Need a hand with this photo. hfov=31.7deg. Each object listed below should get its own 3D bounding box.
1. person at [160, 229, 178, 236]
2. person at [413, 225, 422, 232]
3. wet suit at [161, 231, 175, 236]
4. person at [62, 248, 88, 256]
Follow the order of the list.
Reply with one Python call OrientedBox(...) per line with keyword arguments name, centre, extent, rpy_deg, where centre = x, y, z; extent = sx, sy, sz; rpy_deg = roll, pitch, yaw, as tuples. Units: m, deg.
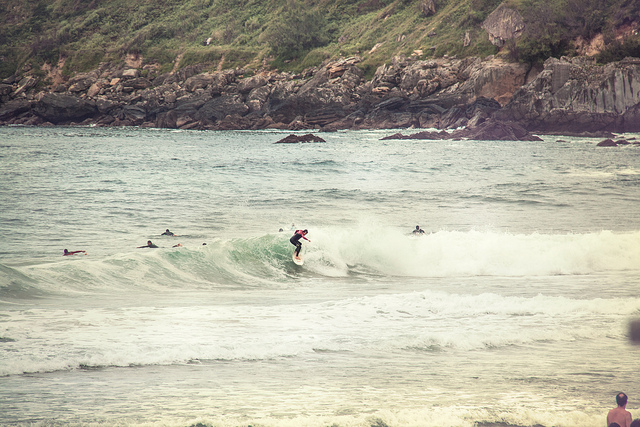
OrientedBox(name="person", centre=(-18.024, 2.189, 132.567), extent=(1.718, 0.643, 0.568), rpy_deg=(6, -8, 3))
OrientedBox(name="person", centre=(11.294, 1.740, 133.382), extent=(0.967, 0.760, 0.530), rpy_deg=(1, -16, 2))
OrientedBox(name="wet suit", centre=(-17.953, 2.263, 132.526), extent=(1.296, 0.562, 0.431), rpy_deg=(7, -7, 6))
OrientedBox(name="person", centre=(-28.320, 4.406, 129.662), extent=(1.759, 0.532, 1.073), rpy_deg=(1, 2, 5))
